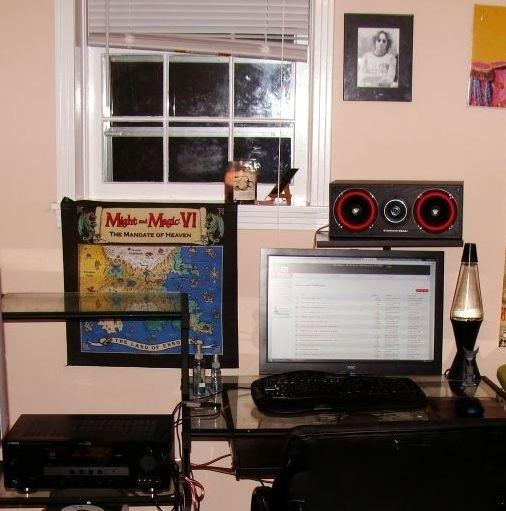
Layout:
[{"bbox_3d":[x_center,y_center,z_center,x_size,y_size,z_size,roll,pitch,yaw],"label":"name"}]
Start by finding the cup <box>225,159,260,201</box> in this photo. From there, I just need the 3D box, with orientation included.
[{"bbox_3d":[-0.046,-0.276,2.613,0.129,0.183,0.132,0,1,0],"label":"cup"}]

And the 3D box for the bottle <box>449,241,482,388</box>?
[{"bbox_3d":[0.726,0.187,2.441,0.110,0.451,0.267,2,11,16],"label":"bottle"}]

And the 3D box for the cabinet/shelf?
[{"bbox_3d":[-0.482,0.442,2.243,0.778,0.775,0.307,0,3,0],"label":"cabinet/shelf"}]

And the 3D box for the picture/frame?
[{"bbox_3d":[0.448,-0.723,2.546,0.285,0.355,0.013,0,5,-1],"label":"picture/frame"}]
